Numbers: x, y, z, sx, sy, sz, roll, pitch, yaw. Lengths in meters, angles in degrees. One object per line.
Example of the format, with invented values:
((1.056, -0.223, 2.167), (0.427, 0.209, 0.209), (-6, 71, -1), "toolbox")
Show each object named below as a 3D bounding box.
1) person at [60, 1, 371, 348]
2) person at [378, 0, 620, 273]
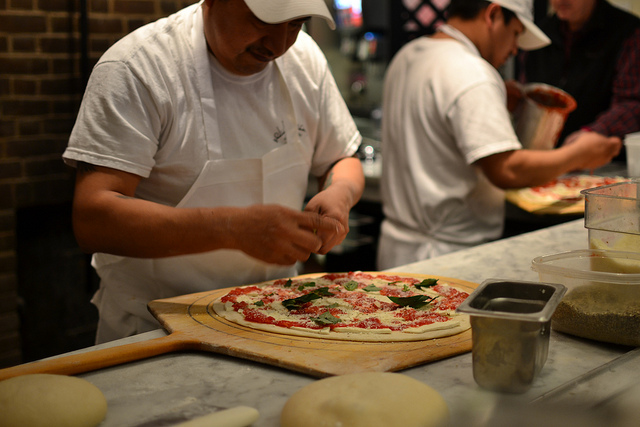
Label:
((-0.311, -0.321, 1.971), (0.902, 0.795, 0.791), (2, 24, 6), "person")
((0.746, -0.270, 2.607), (0.923, 1.330, 0.627), (1, 24, 4), "person")
